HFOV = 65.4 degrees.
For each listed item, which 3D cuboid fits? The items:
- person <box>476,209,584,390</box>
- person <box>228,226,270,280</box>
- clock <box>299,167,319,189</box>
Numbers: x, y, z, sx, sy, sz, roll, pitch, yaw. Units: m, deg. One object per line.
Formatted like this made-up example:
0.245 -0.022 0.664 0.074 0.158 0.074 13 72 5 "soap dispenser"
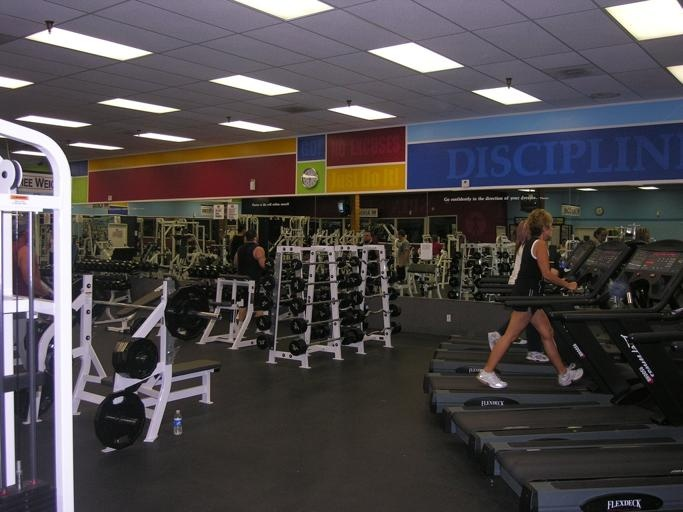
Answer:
1.911 0.316 5.298 0.854 1.795 0.949 5 5 0 "person"
-1.430 0.001 8.502 0.499 0.911 0.552 -2 6 -42 "person"
-0.604 -1.482 10.197 0.388 0.371 0.389 0 2 17 "clock"
